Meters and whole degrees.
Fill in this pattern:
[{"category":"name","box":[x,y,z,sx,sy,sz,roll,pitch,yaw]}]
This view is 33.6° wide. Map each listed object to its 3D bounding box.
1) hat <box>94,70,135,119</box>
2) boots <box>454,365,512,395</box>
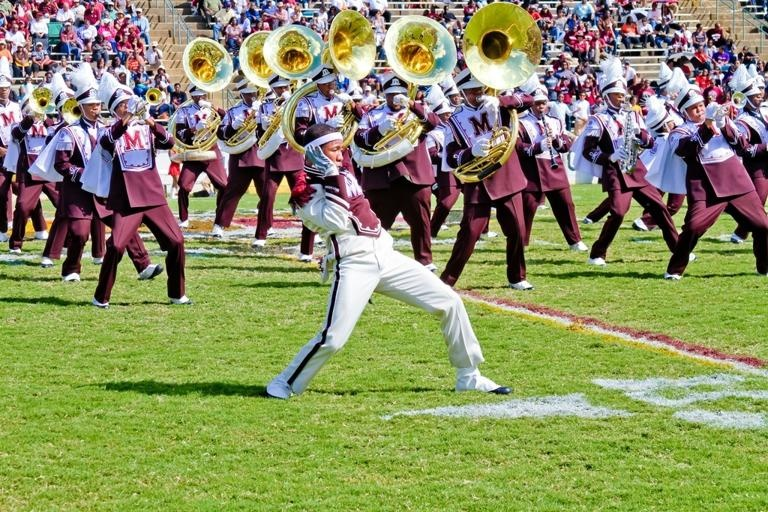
[{"category":"hat","box":[-2.909,-1.786,14.019,0.498,0.352,0.432,52,26,22]},{"category":"boots","box":[0.850,1.163,11.635,0.645,0.247,0.195,-1,1,2]}]
